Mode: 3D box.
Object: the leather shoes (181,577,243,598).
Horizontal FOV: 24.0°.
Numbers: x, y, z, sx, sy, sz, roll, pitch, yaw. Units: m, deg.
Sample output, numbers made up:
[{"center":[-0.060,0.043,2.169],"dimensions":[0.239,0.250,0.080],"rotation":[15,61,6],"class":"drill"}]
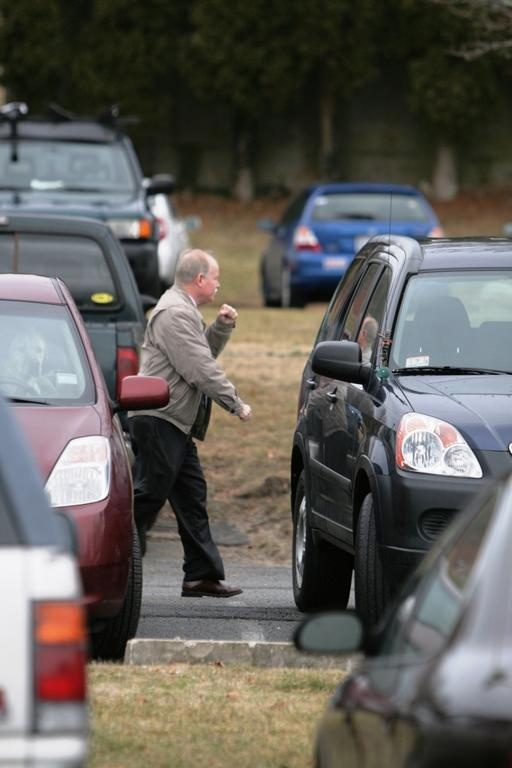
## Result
[{"center":[-0.261,1.152,6.921],"dimensions":[0.358,0.161,0.126],"rotation":[-1,4,-4],"class":"leather shoes"}]
